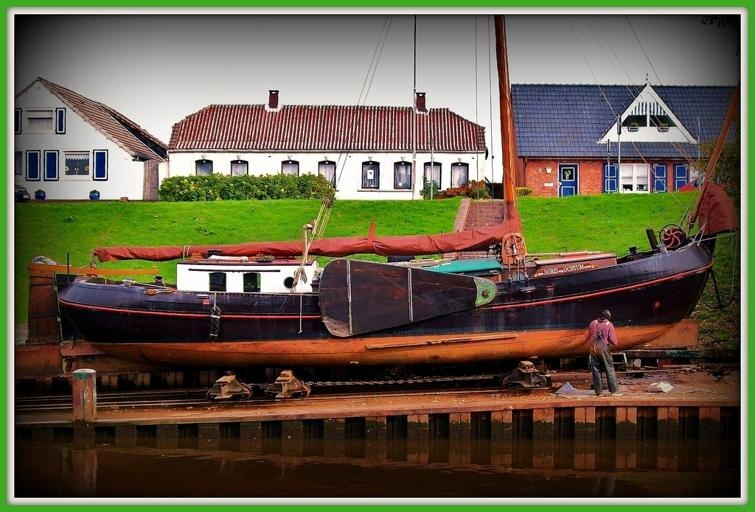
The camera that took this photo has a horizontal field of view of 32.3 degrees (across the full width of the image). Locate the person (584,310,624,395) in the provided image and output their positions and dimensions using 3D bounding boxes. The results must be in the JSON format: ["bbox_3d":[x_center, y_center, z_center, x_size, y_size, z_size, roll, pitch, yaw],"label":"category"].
[{"bbox_3d":[6.606,2.840,37.939,0.772,2.432,0.740,0,0,36],"label":"person"}]
